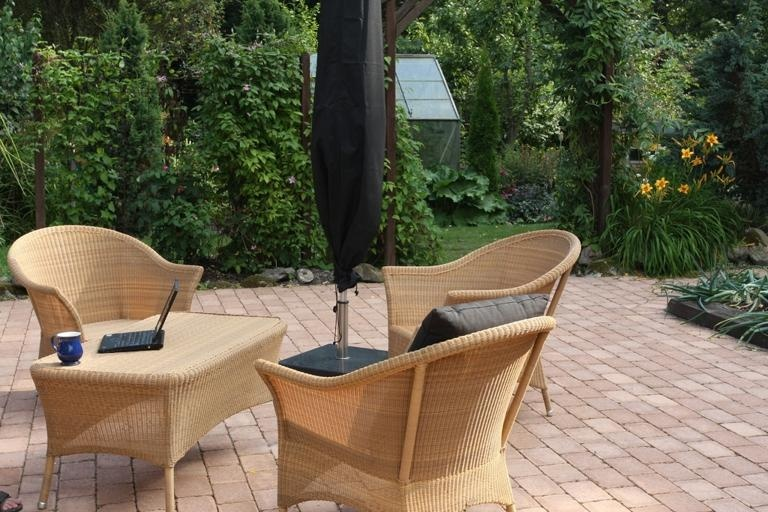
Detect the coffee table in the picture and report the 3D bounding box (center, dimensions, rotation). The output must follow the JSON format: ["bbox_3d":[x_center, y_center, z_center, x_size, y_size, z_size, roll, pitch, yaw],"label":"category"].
[{"bbox_3d":[-1.155,0.775,4.129,1.315,1.041,1.445,4,6,34],"label":"coffee table"}]

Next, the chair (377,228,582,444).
[{"bbox_3d":[0.648,0.521,4.877,1.267,1.379,1.227,-2,7,-24],"label":"chair"}]

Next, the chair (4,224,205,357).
[{"bbox_3d":[-2.002,0.163,4.858,1.092,0.958,1.106,15,16,41],"label":"chair"}]

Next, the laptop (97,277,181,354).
[{"bbox_3d":[-1.510,0.325,4.236,0.481,0.414,0.531,0,28,-3],"label":"laptop"}]

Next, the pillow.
[{"bbox_3d":[0.503,0.353,3.488,0.723,0.258,0.267,-5,14,-28],"label":"pillow"}]
